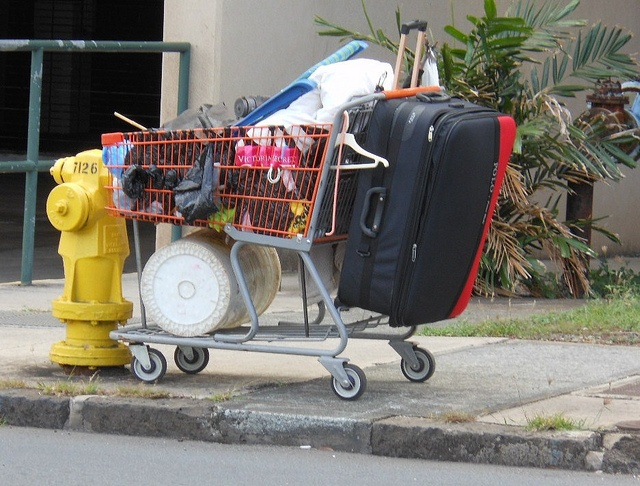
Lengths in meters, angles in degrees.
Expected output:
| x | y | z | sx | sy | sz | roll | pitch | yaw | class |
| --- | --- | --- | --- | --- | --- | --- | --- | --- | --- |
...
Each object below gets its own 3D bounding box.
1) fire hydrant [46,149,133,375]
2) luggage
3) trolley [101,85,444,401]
| x | y | z | sx | sy | sz | roll | pitch | yaw | class |
| --- | --- | --- | --- | --- | --- | --- | --- | --- | --- |
| -1.335 | 0.067 | 6.132 | 0.563 | 1.268 | 0.619 | -7 | 21 | -30 | fire hydrant |
| 0.570 | -0.184 | 5.500 | 0.952 | 1.336 | 0.389 | -1 | 8 | 0 | luggage |
| -0.356 | 0.055 | 6.514 | 2.024 | 2.061 | 1.362 | 2 | 1 | 17 | trolley |
